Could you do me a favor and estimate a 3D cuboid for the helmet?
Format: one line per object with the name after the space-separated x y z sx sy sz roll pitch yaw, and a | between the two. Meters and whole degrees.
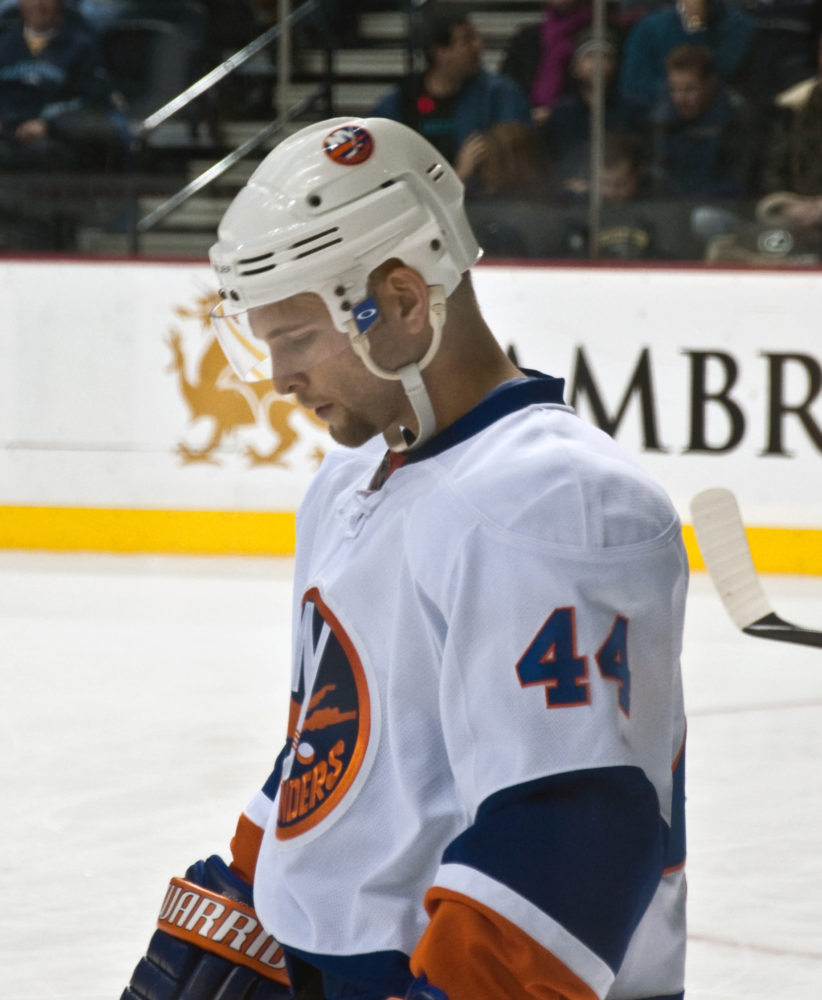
-0.098 -0.337 2.399 0.324 0.263 0.240 -6 8 -10 | helmet
